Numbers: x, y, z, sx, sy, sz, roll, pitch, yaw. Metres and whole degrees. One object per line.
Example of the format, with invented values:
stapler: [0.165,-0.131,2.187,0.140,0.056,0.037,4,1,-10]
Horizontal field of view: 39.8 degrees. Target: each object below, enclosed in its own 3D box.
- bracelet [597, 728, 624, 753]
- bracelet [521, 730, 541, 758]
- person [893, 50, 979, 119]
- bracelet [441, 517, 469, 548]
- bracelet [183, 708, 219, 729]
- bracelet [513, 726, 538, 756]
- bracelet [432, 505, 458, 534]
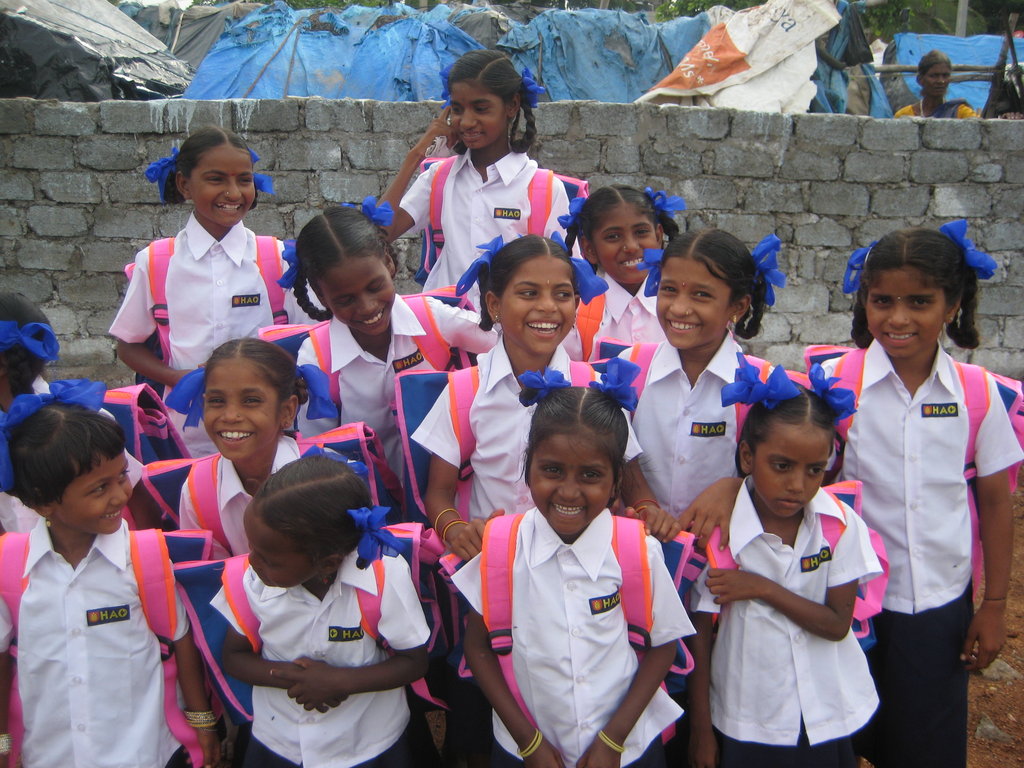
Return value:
bracelet: [0.411,1.505,5.933,0.088,0.029,0.085,40,-12,-3]
bracelet: [0.085,1.523,5.973,0.090,0.101,0.034,-3,7,-15]
person: [3.386,-2.330,11.414,0.886,0.629,0.374,0,4,-2]
bracelet: [-0.258,0.652,6.277,0.052,0.097,0.097,3,9,-43]
bracelet: [-1.374,1.480,6.261,0.096,0.059,0.089,-1,-1,2]
bracelet: [0.057,1.514,5.972,0.031,0.079,0.080,35,-7,-6]
bracelet: [-0.303,0.605,6.325,0.091,0.102,0.057,21,-13,-14]
